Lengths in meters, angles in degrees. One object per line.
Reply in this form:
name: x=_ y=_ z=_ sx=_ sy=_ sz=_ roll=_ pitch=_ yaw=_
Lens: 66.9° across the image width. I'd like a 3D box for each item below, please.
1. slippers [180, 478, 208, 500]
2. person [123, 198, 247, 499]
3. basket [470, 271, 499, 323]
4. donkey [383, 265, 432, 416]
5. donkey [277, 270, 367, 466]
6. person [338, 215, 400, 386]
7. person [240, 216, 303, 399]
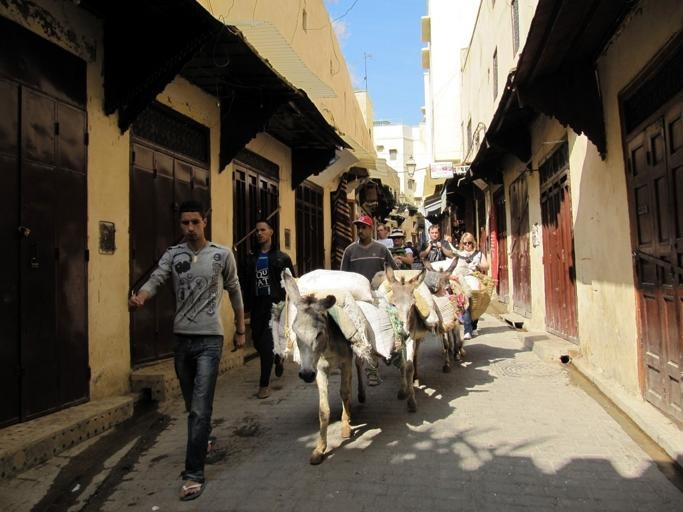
slippers: x=-1.377 y=2.143 z=4.812 sx=0.227 sy=0.146 sz=0.170 roll=-3 pitch=3 yaw=-20
person: x=-1.497 y=0.871 z=5.162 sx=0.670 sy=2.832 sz=1.428 roll=0 pitch=1 yaw=19
basket: x=2.864 y=0.841 z=10.328 sx=0.355 sy=0.961 sz=0.685 roll=12 pitch=-14 yaw=-4
donkey: x=0.892 y=1.081 z=6.906 sx=0.578 sy=1.834 sz=1.187 roll=-1 pitch=3 yaw=9
donkey: x=-0.158 y=1.119 z=5.542 sx=0.864 sy=1.949 sz=1.304 roll=-1 pitch=3 yaw=18
person: x=0.421 y=0.640 z=8.009 sx=0.791 sy=2.442 sz=0.885 roll=2 pitch=6 yaw=3
person: x=-1.032 y=0.726 z=7.702 sx=0.711 sy=2.575 sz=0.868 roll=0 pitch=0 yaw=-19
